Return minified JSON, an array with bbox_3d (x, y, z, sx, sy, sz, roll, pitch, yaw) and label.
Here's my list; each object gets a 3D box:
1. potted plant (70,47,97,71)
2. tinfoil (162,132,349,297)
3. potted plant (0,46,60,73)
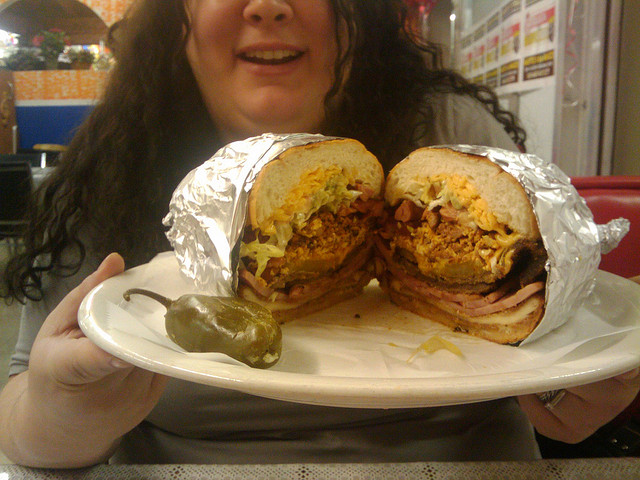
[{"bbox_3d":[-1.560,-1.183,3.689,0.150,0.124,0.164,1,3,-4],"label":"potted plant"},{"bbox_3d":[-0.363,-0.109,2.302,0.424,0.613,0.472,-10,18,-40],"label":"tinfoil"},{"bbox_3d":[-1.873,-1.164,3.624,0.246,0.136,0.205,5,22,30],"label":"potted plant"}]
